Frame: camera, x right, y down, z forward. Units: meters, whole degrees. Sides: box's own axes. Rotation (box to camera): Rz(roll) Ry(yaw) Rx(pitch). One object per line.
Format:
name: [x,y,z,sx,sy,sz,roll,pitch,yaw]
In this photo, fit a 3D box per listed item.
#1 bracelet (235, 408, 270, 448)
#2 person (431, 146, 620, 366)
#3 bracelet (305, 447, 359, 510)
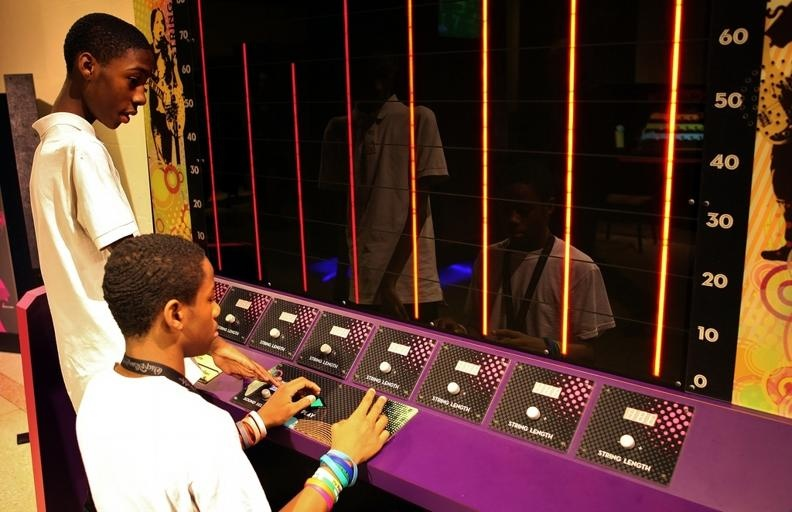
bracelet: [-0.505,0.599,1.943,0.086,0.096,0.117,-33,-17,-32]
person: [0.482,-0.047,2.346,0.595,1.028,0.897,-12,18,-36]
bracelet: [-0.210,0.683,1.714,0.083,0.133,0.178,-17,16,46]
